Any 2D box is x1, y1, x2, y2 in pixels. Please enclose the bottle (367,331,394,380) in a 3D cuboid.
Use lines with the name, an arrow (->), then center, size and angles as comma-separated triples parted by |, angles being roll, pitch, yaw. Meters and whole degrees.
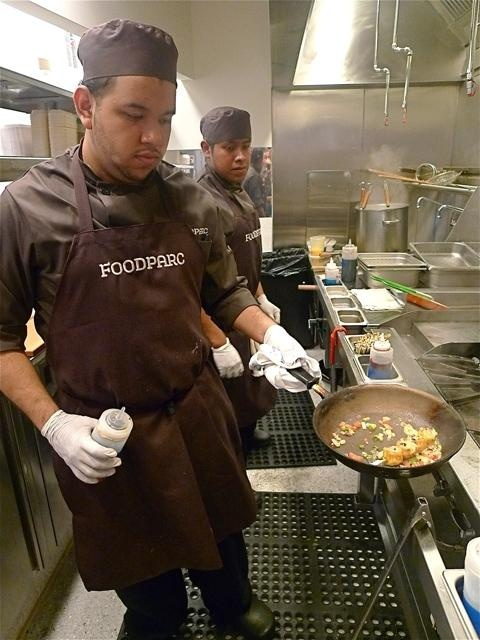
bottle -> 0.486, 0.155, 1.514 | 0.074, 0.130, 0.076 | 7, -12, 1

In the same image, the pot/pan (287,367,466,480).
pot/pan -> 0.380, 0.273, 1.128 | 0.249, 0.057, 0.402 | -12, 21, -23

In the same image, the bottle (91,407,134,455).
bottle -> -0.235, 0.217, 0.830 | 0.065, 0.076, 0.065 | 12, 9, -7

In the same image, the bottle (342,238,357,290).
bottle -> 0.714, -0.375, 2.877 | 0.102, 0.264, 0.138 | -1, 13, 13

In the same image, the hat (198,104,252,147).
hat -> -0.057, -0.947, 2.146 | 0.235, 0.141, 0.180 | 3, 26, 17

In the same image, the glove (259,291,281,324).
glove -> 0.169, -0.075, 2.502 | 0.051, 0.169, 0.127 | -37, 15, 26

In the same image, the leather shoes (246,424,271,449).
leather shoes -> 0.104, 0.683, 2.551 | 0.180, 0.078, 0.172 | -11, -22, -3

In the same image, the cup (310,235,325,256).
cup -> 0.629, -0.617, 3.640 | 0.143, 0.176, 0.171 | 0, 1, -1

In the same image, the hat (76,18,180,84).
hat -> -0.213, -0.500, 0.859 | 0.184, 0.097, 0.135 | -6, 11, -26

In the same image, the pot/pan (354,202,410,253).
pot/pan -> 1.046, -0.677, 3.342 | 0.359, 0.377, 0.405 | -3, 20, 0

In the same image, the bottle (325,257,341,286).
bottle -> 0.579, -0.314, 2.886 | 0.108, 0.192, 0.185 | -2, 17, 3
